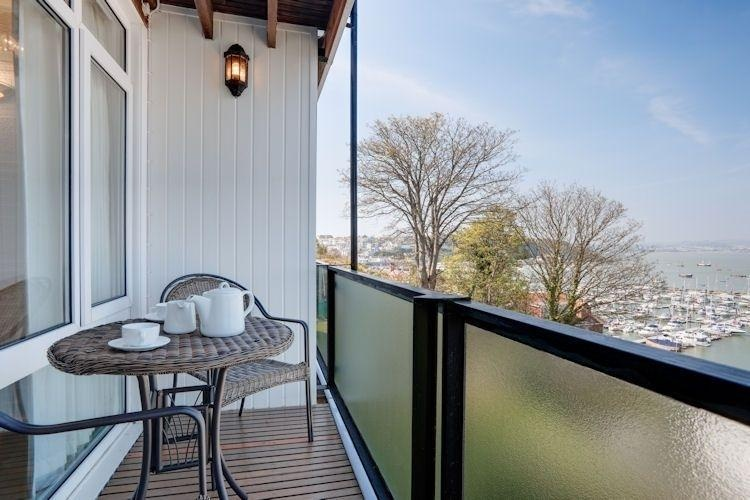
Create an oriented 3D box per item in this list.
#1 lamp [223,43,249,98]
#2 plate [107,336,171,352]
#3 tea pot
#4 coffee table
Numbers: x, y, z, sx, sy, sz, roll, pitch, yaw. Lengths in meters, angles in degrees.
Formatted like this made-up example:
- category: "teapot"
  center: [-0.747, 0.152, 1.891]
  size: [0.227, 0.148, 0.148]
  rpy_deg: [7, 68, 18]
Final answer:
- category: "lamp"
  center: [-1.100, -1.408, 3.970]
  size: [0.183, 0.392, 0.112]
  rpy_deg: [0, 11, -7]
- category: "plate"
  center: [-1.128, 0.447, 2.414]
  size: [0.276, 0.041, 0.141]
  rpy_deg: [-3, 11, -22]
- category: "tea pot"
  center: [-0.799, 0.325, 2.674]
  size: [0.388, 0.291, 0.240]
  rpy_deg: [3, -6, -31]
- category: "coffee table"
  center: [-0.978, 0.615, 2.773]
  size: [1.058, 0.954, 1.064]
  rpy_deg: [0, 0, 4]
